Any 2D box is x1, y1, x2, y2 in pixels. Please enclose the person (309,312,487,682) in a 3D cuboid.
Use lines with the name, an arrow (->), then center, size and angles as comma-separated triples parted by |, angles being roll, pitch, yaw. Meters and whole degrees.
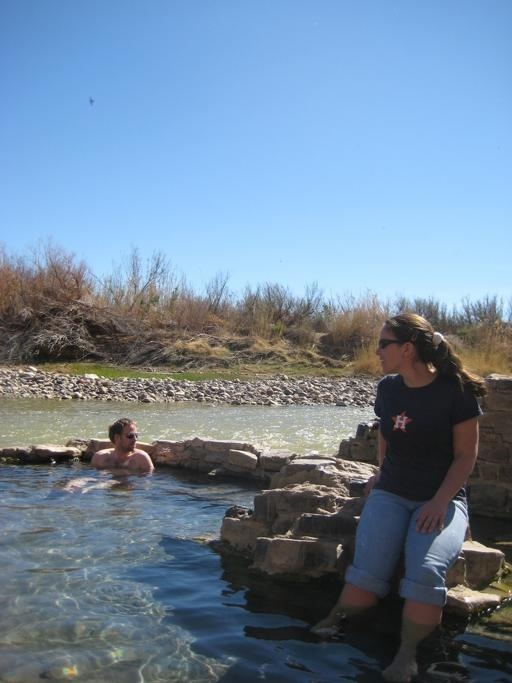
person -> 0.698, 0.633, 3.240 | 0.621, 1.532, 0.770 | 2, 2, 23

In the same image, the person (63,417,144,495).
person -> -1.358, 1.172, 6.882 | 0.728, 0.756, 1.090 | -2, -8, 1
